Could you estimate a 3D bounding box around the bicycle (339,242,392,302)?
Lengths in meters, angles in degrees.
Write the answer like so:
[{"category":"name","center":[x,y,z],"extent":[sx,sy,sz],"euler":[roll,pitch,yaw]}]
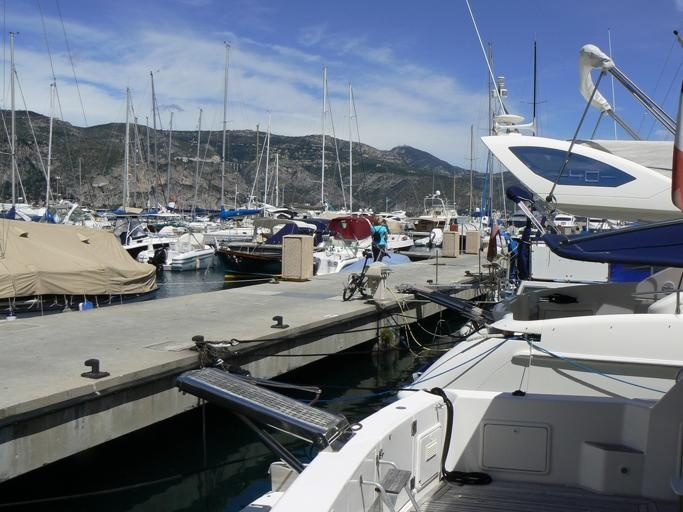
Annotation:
[{"category":"bicycle","center":[0.414,0.388,14.155],"extent":[0.784,0.880,1.495],"euler":[-1,3,26]}]
